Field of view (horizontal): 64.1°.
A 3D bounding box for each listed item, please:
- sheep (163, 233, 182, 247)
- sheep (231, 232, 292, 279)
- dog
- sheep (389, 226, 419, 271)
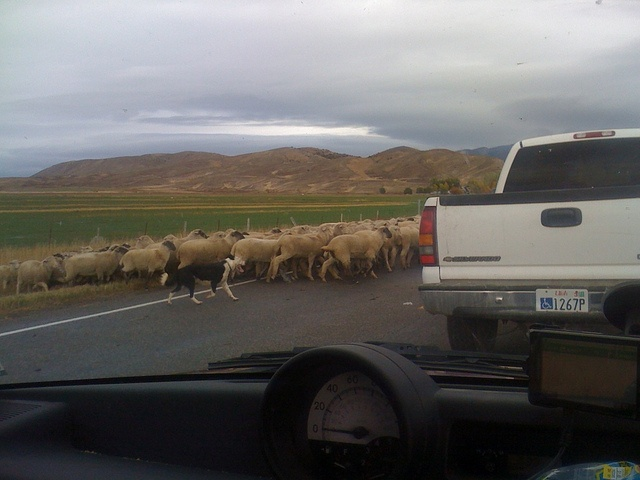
[{"bbox_3d":[-4.971,0.007,17.322,0.420,0.493,0.804,1,10,-1],"label":"sheep"},{"bbox_3d":[-1.830,0.524,14.745,1.153,1.104,1.056,0,2,44],"label":"sheep"},{"bbox_3d":[-2.510,0.890,11.419,1.505,0.827,2.086,-1,2,20],"label":"dog"},{"bbox_3d":[2.924,0.230,17.599,0.902,1.373,2.198,-1,2,12],"label":"sheep"}]
